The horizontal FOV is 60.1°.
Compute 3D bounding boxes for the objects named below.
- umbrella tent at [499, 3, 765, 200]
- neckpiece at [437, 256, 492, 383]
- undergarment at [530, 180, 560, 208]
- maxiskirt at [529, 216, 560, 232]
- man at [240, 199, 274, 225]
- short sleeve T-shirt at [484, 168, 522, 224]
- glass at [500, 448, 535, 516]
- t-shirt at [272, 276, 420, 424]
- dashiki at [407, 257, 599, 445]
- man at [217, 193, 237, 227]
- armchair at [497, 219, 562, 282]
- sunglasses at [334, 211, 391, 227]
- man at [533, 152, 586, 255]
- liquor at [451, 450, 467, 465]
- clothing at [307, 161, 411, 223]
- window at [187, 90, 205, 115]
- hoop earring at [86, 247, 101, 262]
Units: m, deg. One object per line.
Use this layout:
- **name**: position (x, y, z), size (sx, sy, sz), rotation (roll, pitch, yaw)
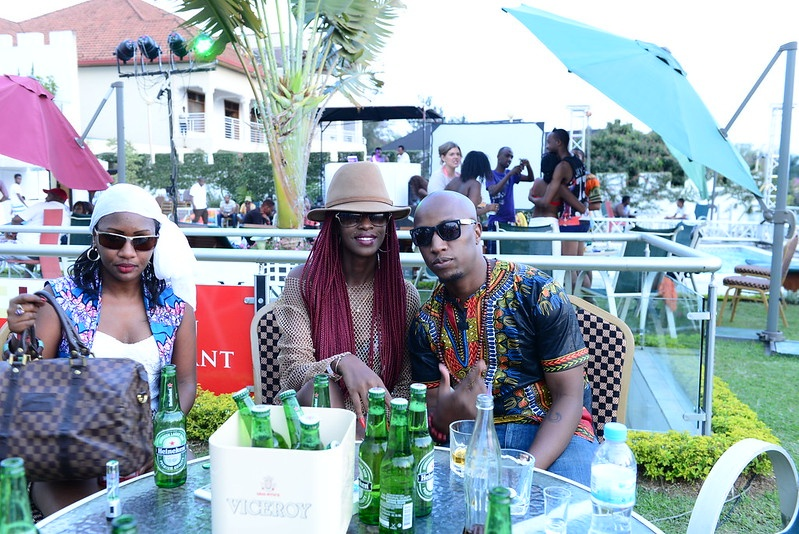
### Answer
- **umbrella tent**: position (2.232, -1.674, 6.582), size (2.219, 1.926, 1.126), rotation (4, 5, 29)
- **neckpiece**: position (0.351, 0.314, 3.996), size (0.371, 0.686, 0.139), rotation (-2, -9, 17)
- **undergarment**: position (1.964, -0.990, 9.327), size (0.242, 0.447, 0.337), rotation (-4, 13, -17)
- **maxiskirt**: position (1.857, -0.581, 8.931), size (0.268, 0.217, 0.265), rotation (-5, 9, -40)
- **man**: position (-3.050, -1.222, 15.051), size (0.516, 0.579, 1.802), rotation (2, 4, -6)
- **short sleeve T-shirt**: position (1.688, -0.993, 11.098), size (0.591, 1.255, 0.373), rotation (-4, 13, -10)
- **glass**: position (0.552, 1.030, 3.348), size (0.245, 0.279, 0.259), rotation (0, 2, -4)
- **t-shirt**: position (-0.311, 0.577, 4.400), size (0.970, 1.120, 0.651), rotation (8, -15, -1)
- **dashiki**: position (0.587, 0.522, 4.021), size (0.987, 1.081, 0.564), rotation (-7, -8, 24)
- **man**: position (-5.237, -1.662, 20.897), size (0.554, 1.061, 0.650), rotation (-2, 3, -27)
- **armchair**: position (1.180, -0.158, 6.244), size (0.472, 0.876, 0.603), rotation (5, 28, 20)
- **sunglasses**: position (-0.221, -0.300, 4.344), size (0.323, 0.094, 0.095), rotation (2, 4, -2)
- **man**: position (2.031, -1.069, 9.274), size (0.344, 0.976, 0.413), rotation (-31, 25, -36)
- **liquor**: position (0.293, 0.939, 3.419), size (0.066, 0.048, 0.066), rotation (0, 1, -32)
- **clothing**: position (-0.263, -0.481, 4.341), size (0.399, 0.246, 0.464), rotation (-1, -5, -7)
- **window**: position (-8.819, -7.149, 29.866), size (0.081, 1.122, 0.992), rotation (2, 8, 24)
- **hoop earring**: position (-1.818, -0.075, 4.115), size (0.079, 0.077, 0.018), rotation (1, 7, -7)
